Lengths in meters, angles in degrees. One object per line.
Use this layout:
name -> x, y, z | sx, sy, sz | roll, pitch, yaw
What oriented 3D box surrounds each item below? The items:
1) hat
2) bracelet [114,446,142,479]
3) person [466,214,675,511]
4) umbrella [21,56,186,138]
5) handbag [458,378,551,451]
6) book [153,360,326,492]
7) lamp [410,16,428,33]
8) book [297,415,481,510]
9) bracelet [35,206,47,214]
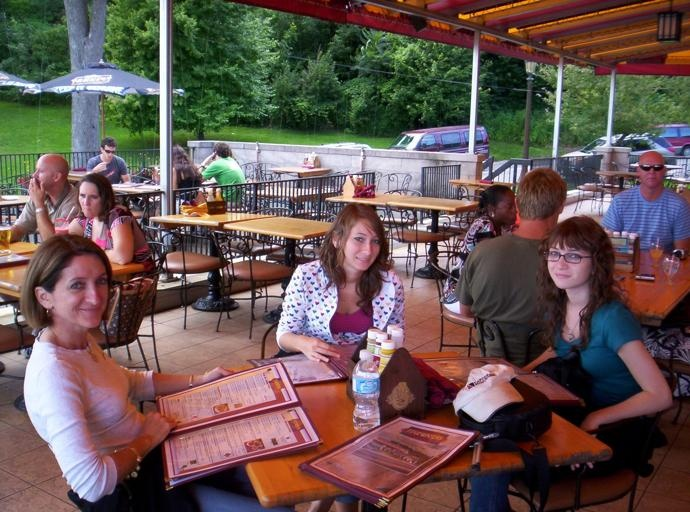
hat -> 0.497, 0.470, 1.910 | 0.159, 0.085, 0.218 | -17, 3, -6
bracelet -> -0.734, 0.714, 1.894 | 0.097, 0.042, 0.116 | 5, 10, 10
person -> 1.429, 0.565, 3.755 | 1.159, 2.598, 0.835 | 7, 40, 31
umbrella -> -5.469, -3.359, 11.916 | 1.955, 1.558, 5.230 | -7, 11, -26
handbag -> 0.559, 0.544, 1.908 | 0.298, 0.164, 0.205 | -4, 11, -16
book -> -0.404, 0.580, 1.994 | 0.499, 0.172, 0.565 | -4, 11, -19
lamp -> 1.367, -4.347, 10.253 | 0.260, 0.221, 0.399 | 6, 12, 31
book -> 0.167, 0.575, 1.737 | 0.282, 0.067, 0.442 | 12, 20, 42
bracelet -> -2.587, -0.401, 4.708 | 0.113, 0.056, 0.056 | -3, -21, -23
